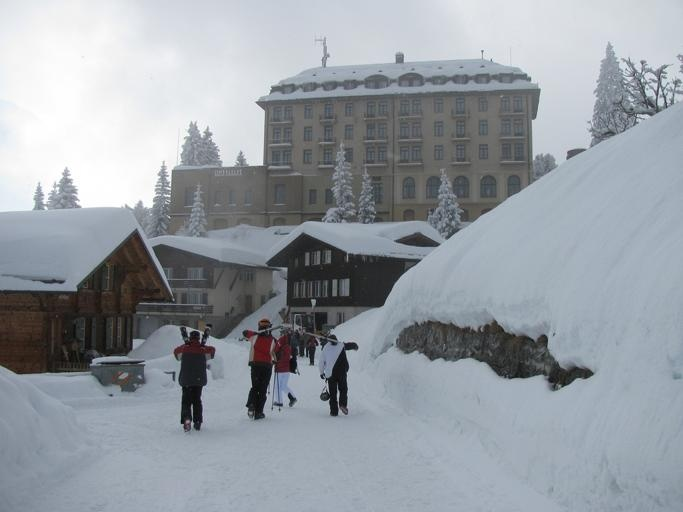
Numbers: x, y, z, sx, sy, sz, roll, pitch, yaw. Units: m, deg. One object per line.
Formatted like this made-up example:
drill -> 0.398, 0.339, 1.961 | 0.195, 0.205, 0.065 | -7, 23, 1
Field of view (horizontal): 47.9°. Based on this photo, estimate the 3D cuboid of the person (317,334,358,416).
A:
person -> -0.099, 2.835, 18.239 | 0.825, 1.796, 1.292 | 1, 2, 0

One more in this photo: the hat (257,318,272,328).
hat -> -1.732, 1.523, 17.532 | 0.172, 0.287, 0.257 | 2, -1, 7

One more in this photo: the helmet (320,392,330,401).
helmet -> -0.406, 3.412, 18.452 | 0.212, 0.304, 0.302 | -1, -2, 3

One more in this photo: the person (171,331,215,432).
person -> -3.022, 2.588, 15.870 | 0.767, 2.064, 0.878 | 1, 2, -16

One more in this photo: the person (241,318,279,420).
person -> -1.863, 2.587, 17.547 | 0.700, 2.251, 1.410 | 1, 2, -5
